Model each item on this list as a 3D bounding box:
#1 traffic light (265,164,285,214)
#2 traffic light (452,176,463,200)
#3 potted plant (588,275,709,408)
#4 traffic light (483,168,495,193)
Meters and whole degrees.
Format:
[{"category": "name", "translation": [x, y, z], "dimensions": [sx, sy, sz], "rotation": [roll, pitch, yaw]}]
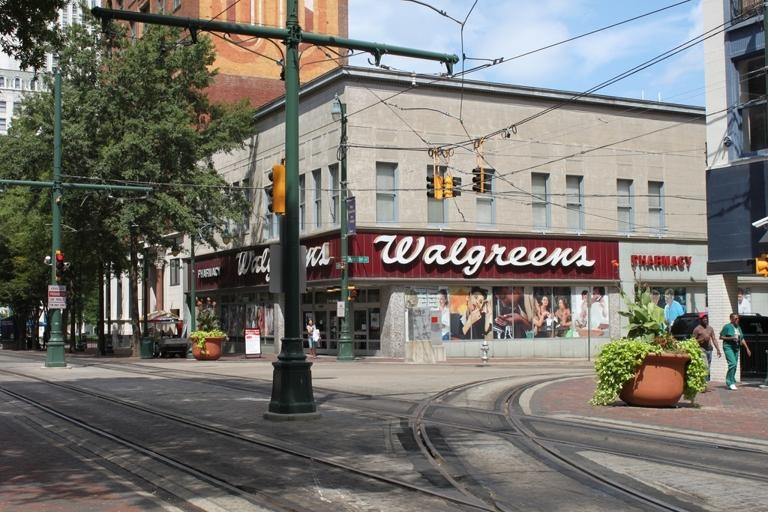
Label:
[{"category": "traffic light", "translation": [-2.705, -1.771, 22.597], "dimensions": [0.429, 1.361, 1.372], "rotation": [-1, -1, -7]}, {"category": "traffic light", "translation": [3.827, -3.729, 47.292], "dimensions": [0.351, 1.093, 0.960], "rotation": [-1, -1, 20]}, {"category": "potted plant", "translation": [7.167, 2.429, 24.639], "dimensions": [3.506, 3.132, 2.129], "rotation": [2, 2, -17]}, {"category": "traffic light", "translation": [5.624, -4.126, 48.355], "dimensions": [0.455, 1.372, 0.889], "rotation": [-1, 0, 24]}]
